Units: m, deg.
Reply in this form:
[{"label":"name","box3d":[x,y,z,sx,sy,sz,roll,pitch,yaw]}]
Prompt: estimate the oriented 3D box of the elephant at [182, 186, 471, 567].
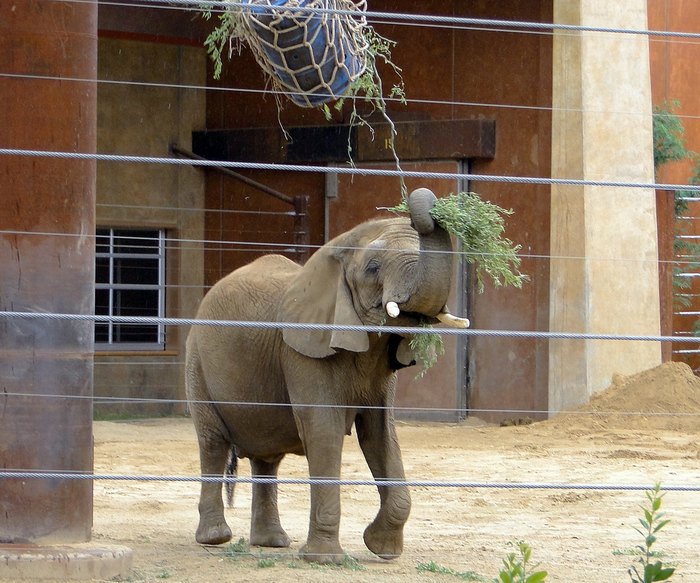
[{"label":"elephant","box3d":[-0.122,0.585,11.593,0.780,2.037,2.230,3,-7,-43]}]
